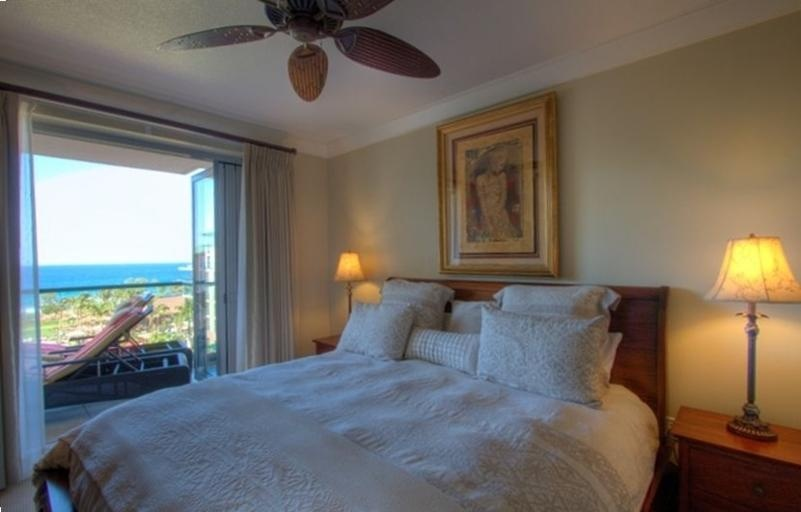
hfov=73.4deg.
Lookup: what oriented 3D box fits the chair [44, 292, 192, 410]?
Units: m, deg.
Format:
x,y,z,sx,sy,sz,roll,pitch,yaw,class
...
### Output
x,y,z,sx,sy,sz,roll,pitch,yaw,class
-2.850,1.016,5.577,1.330,0.724,0.808,4,-6,-36,chair
